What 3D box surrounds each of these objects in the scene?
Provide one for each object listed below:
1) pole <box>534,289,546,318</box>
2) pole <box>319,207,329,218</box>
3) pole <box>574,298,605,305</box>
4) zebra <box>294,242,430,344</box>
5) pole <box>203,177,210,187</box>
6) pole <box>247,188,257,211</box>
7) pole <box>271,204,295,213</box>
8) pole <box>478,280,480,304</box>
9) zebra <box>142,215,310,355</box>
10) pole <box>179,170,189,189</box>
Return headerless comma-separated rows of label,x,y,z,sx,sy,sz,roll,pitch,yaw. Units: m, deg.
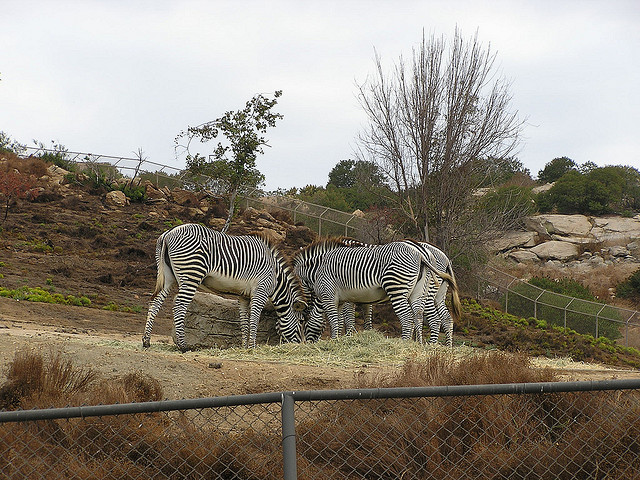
pole,7.617,2.271,26.254,0.239,0.864,0.678,1,-4,29
pole,0.103,-1.129,32.225,0.281,0.451,0.625,1,-4,29
pole,9.252,2.145,25.848,0.962,0.199,0.641,3,-4,17
zebra,0.702,1.350,18.904,4.210,2.994,1.249,-4,-10,30
pole,-4.771,-2.396,31.278,0.239,0.386,0.468,2,-4,20
pole,-2.946,-1.769,31.906,0.222,0.855,0.936,3,-3,5
pole,-1.584,-1.325,32.128,1.043,0.313,0.195,3,-3,7
pole,6.047,1.865,28.601,0.063,0.645,0.350,2,-3,11
zebra,-2.026,1.107,16.954,3.371,2.783,2.177,4,-3,-6
pole,-5.897,-2.722,32.628,0.265,0.459,0.711,6,-4,-37
